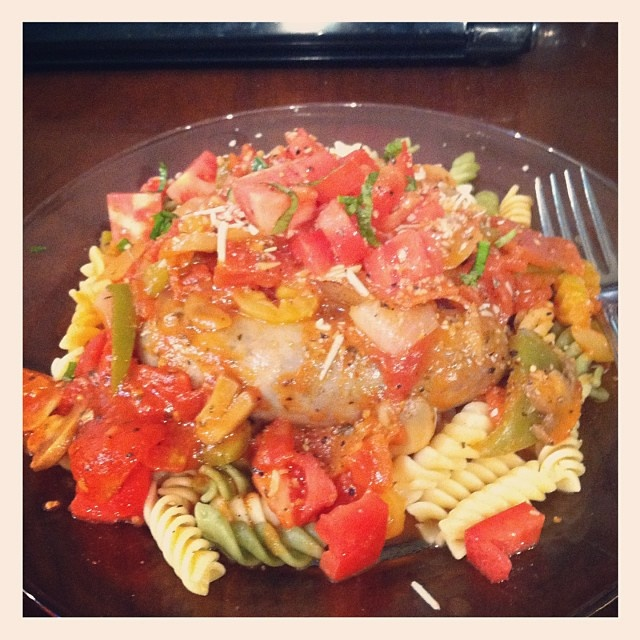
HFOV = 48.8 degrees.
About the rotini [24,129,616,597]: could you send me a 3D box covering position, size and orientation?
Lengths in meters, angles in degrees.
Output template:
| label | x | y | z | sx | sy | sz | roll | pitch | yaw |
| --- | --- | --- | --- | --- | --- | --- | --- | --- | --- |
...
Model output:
| label | x | y | z | sx | sy | sz | roll | pitch | yaw |
| --- | --- | --- | --- | --- | --- | --- | --- | --- | --- |
| rotini | 0.053 | 0.147 | 3.030 | 2.668 | 1.450 | 1.686 | -14 | 37 | -14 |
